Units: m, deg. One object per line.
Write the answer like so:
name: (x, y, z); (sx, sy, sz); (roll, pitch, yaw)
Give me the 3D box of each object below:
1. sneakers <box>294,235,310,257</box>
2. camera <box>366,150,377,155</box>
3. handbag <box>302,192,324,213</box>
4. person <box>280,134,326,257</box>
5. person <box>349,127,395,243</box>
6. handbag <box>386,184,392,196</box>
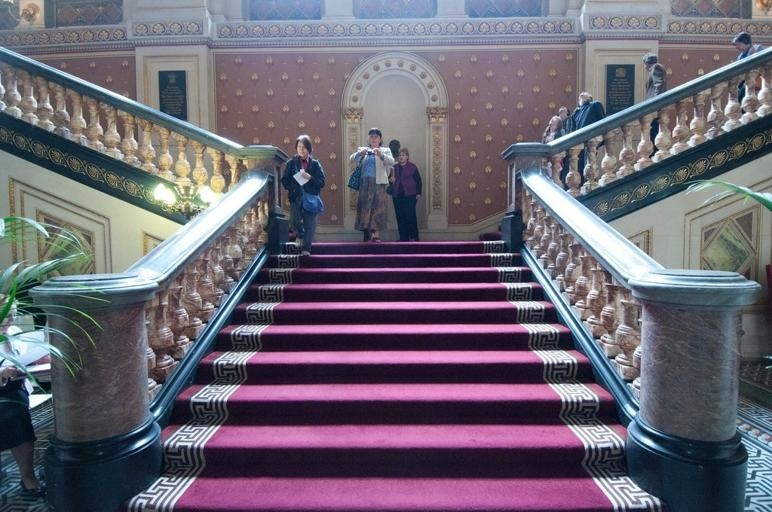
sneakers: (-1.076, -0.135, 9.123); (0.115, 0.163, 0.383); (-1, 13, -10)
camera: (-0.199, -1.501, 10.208); (0.140, 0.077, 0.062); (-3, 11, -11)
handbag: (-0.937, -0.688, 9.134); (0.281, 0.275, 0.140); (-6, 12, -24)
person: (-1.022, -0.800, 9.137); (0.512, 1.479, 0.629); (-7, 12, -28)
person: (-0.208, -1.032, 10.329); (0.638, 1.601, 0.380); (0, 11, 3)
handbag: (0.070, -1.037, 11.095); (0.113, 0.218, 0.152); (2, -2, 3)
